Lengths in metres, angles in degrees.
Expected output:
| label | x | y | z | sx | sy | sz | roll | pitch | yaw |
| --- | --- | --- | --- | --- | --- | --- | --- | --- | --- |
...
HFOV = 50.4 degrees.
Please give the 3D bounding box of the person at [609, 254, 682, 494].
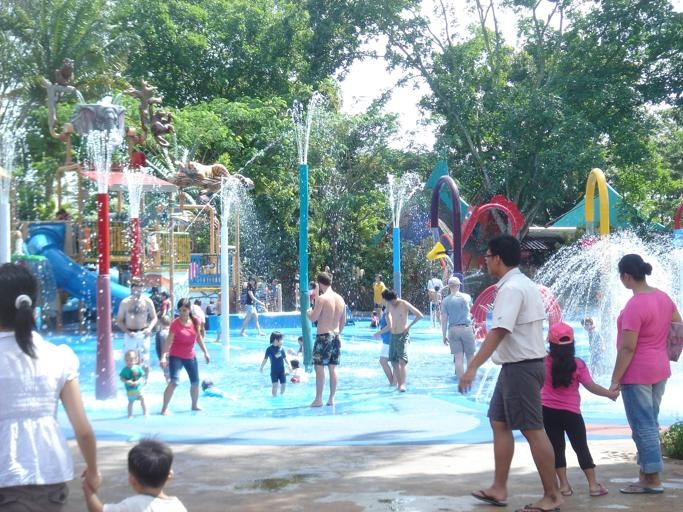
| label | x | y | z | sx | sy | sz | roll | pitch | yaw |
| --- | --- | --- | --- | --- | --- | --- | --- | --- | --- |
| person | 3.077 | 1.163 | 7.368 | 0.688 | 1.933 | 0.452 | -2 | -2 | 13 |
